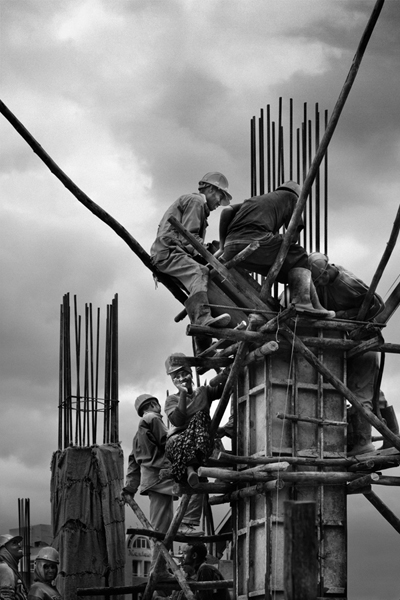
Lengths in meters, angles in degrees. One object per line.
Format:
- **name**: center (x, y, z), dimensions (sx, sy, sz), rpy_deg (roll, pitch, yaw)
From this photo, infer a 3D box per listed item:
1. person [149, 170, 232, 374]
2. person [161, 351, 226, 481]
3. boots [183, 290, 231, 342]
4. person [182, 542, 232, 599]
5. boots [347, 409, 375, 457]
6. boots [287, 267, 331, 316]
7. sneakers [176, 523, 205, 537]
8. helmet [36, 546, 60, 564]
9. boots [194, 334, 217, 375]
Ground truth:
- **person**: center (0.000, -0.669, 25.694), dimensions (1.071, 2.657, 1.176), rpy_deg (9, -21, -12)
- **person**: center (0.017, 1.537, 24.932), dimensions (0.857, 1.898, 0.939), rpy_deg (2, -23, -4)
- **boots**: center (0.126, 0.205, 24.844), dimensions (0.553, 0.601, 0.363), rpy_deg (4, -41, 18)
- **person**: center (0.075, 3.696, 25.995), dimensions (0.604, 0.802, 0.924), rpy_deg (4, -12, -20)
- **boots**: center (2.167, 1.723, 25.324), dimensions (0.372, 0.694, 0.515), rpy_deg (-1, -11, 6)
- **boots**: center (1.517, -0.065, 25.206), dimensions (0.596, 0.661, 0.349), rpy_deg (19, -35, -11)
- **sneakers**: center (-0.132, 3.185, 26.516), dimensions (0.453, 0.230, 0.147), rpy_deg (-4, 1, 34)
- **helmet**: center (-2.044, 3.322, 25.046), dimensions (0.259, 0.189, 0.222), rpy_deg (-1, -14, 34)
- **boots**: center (0.075, 0.643, 24.390), dimensions (0.232, 0.198, 0.659), rpy_deg (-5, 9, 15)
